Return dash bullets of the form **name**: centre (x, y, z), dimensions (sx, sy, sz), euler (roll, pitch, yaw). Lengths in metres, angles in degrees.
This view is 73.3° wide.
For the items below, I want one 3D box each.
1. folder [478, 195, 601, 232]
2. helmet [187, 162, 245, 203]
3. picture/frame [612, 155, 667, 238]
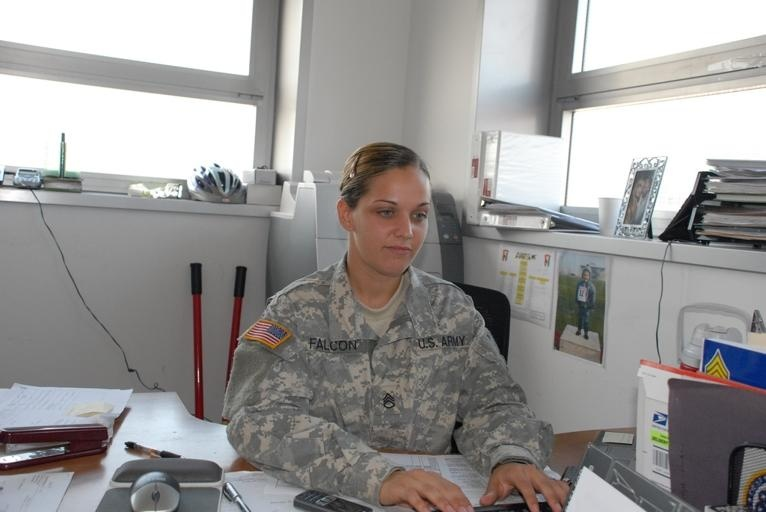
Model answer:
- **folder**: centre (0.656, -0.174, 2.282), dimensions (0.747, 0.157, 0.547), euler (0, 6, -15)
- **helmet**: centre (-0.953, -0.388, 3.069), dimensions (0.275, 0.235, 0.305), euler (22, 10, 28)
- **picture/frame**: centre (0.942, -0.231, 2.029), dimensions (0.136, 0.399, 0.267), euler (4, 3, -13)
